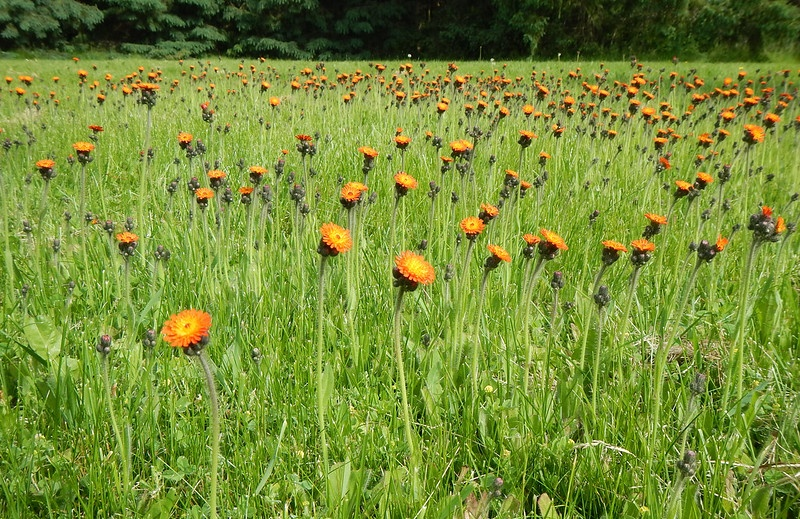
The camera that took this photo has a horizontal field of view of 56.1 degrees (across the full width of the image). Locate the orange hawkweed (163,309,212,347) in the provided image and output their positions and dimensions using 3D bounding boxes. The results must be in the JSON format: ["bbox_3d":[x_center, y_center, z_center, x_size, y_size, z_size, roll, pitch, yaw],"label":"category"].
[{"bbox_3d":[-1.237,0.401,4.324,0.269,0.195,0.140,-2,14,-16],"label":"orange hawkweed"}]
